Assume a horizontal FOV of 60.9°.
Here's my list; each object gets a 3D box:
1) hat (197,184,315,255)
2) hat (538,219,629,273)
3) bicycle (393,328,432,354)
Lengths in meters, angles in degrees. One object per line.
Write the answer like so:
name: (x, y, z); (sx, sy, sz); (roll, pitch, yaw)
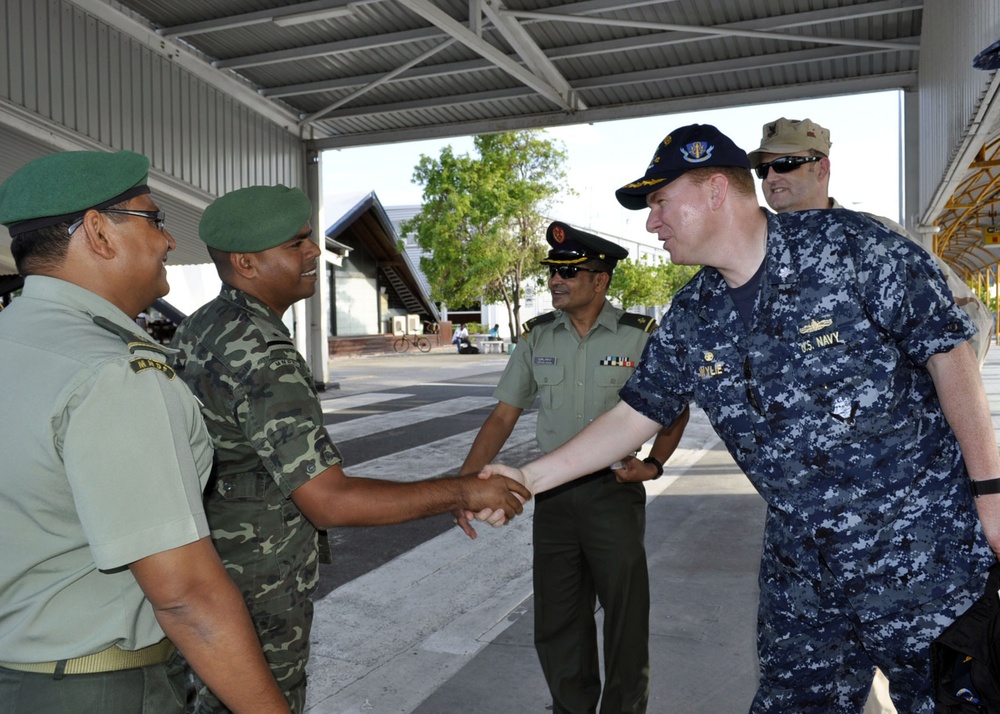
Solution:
hat: (-0.870, -0.454, 3.051); (0.312, 0.293, 0.079); (-19, -30, -5)
hat: (0.402, -0.506, 4.032); (0.322, 0.134, 0.267); (8, -3, -16)
bicycle: (-4.175, -0.716, 39.312); (1.580, 0.902, 0.742); (-2, 7, -20)
